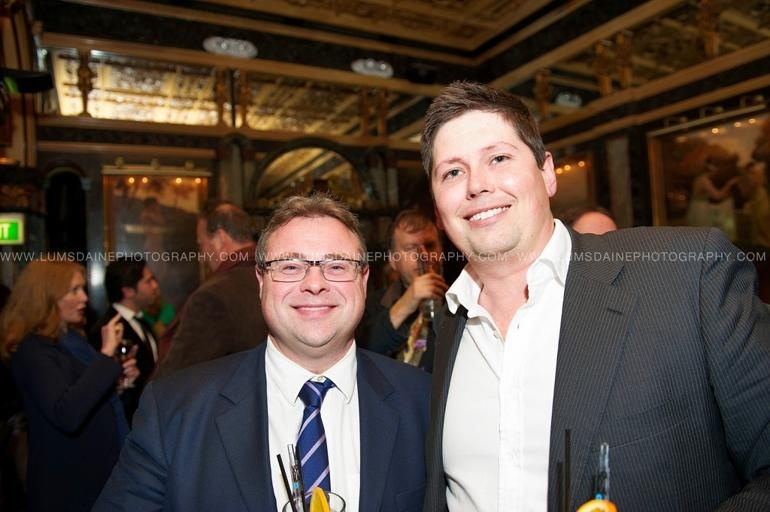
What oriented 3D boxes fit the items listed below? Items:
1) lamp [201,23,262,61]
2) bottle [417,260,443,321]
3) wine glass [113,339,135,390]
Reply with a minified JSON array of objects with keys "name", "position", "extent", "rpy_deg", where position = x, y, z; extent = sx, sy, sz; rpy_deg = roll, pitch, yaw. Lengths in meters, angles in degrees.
[{"name":"lamp","position":[-1.394,-1.887,5.783],"extent":[0.392,0.187,0.089],"rpy_deg":[5,0,-20]},{"name":"bottle","position":[0.274,0.223,3.948],"extent":[0.139,0.115,0.364],"rpy_deg":[-11,33,3]},{"name":"wine glass","position":[-1.843,0.758,4.562],"extent":[0.214,0.285,0.099],"rpy_deg":[9,4,34]}]
